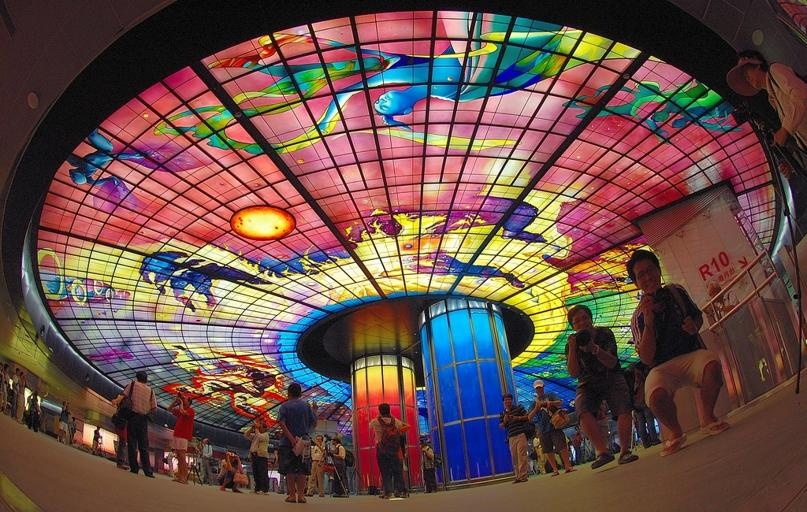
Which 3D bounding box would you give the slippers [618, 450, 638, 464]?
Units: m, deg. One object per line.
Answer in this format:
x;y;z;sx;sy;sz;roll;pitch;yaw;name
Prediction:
6.409;5.752;12.912;0.575;0.283;0.217;-26;9;16;slippers

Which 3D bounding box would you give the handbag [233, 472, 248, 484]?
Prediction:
-5.603;7.534;15.236;0.251;0.563;0.617;-20;-35;-5;handbag

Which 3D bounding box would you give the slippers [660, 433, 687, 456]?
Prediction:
7.454;5.187;12.412;0.757;0.274;0.380;-29;-24;3;slippers
